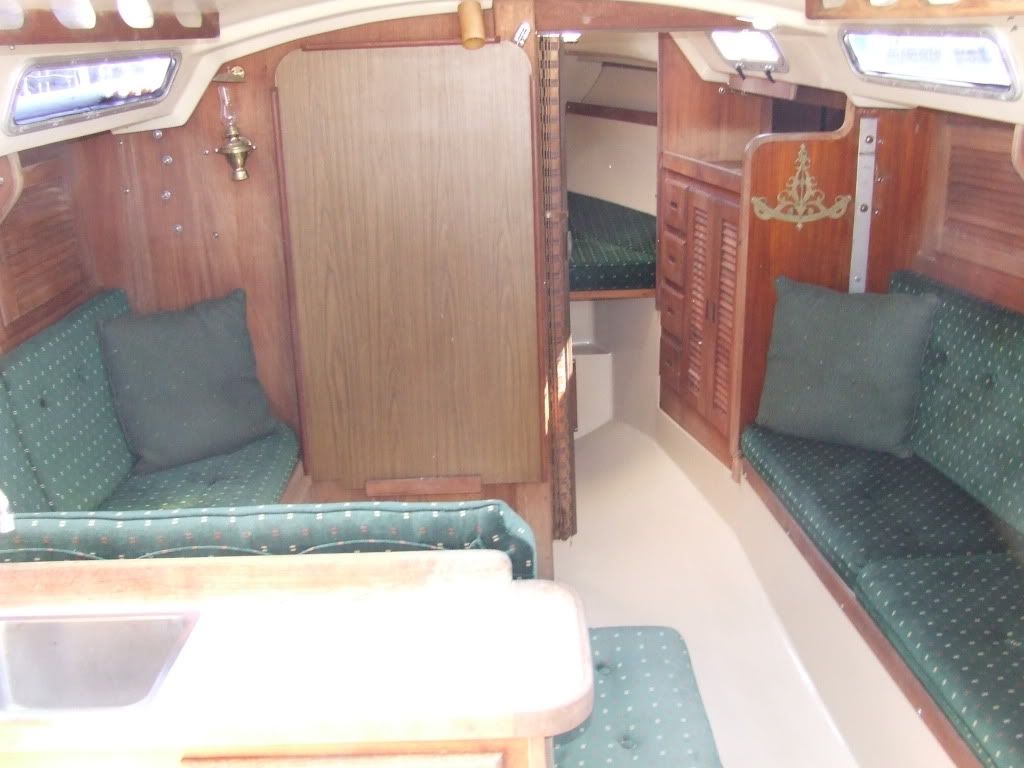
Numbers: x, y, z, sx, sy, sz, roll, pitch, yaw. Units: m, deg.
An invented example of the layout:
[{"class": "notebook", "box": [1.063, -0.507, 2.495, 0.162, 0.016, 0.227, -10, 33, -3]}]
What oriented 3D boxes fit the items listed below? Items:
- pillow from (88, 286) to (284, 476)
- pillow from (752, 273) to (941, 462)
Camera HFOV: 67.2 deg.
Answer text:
[{"class": "pillow", "box": [-1.209, 0.004, 2.853, 0.596, 0.588, 0.174, -26, 12, -41]}, {"class": "pillow", "box": [1.256, -0.048, 2.867, 0.600, 0.591, 0.211, 17, 8, 37]}]
